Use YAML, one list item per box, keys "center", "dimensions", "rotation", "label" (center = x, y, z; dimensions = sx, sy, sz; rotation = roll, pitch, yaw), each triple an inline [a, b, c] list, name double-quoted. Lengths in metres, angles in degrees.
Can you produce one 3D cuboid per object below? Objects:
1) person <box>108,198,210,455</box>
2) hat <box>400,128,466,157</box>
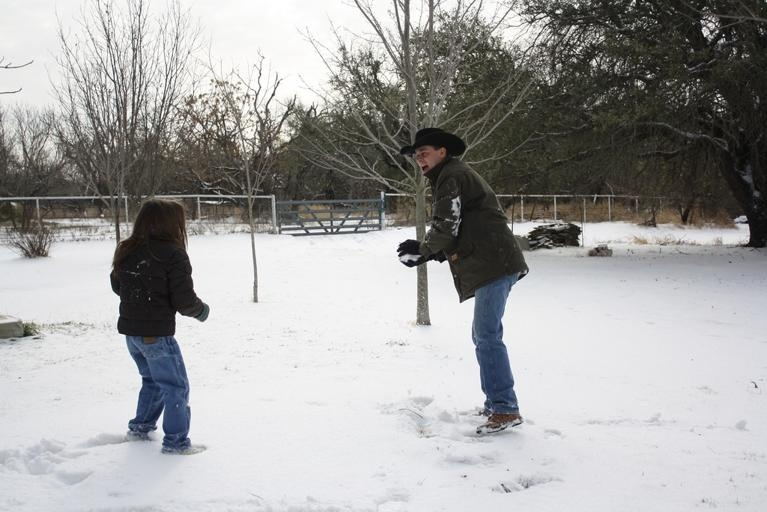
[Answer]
- center: [-2.823, 0.881, 9.007]
  dimensions: [1.022, 3.189, 0.391]
  rotation: [-1, 2, 7]
  label: "person"
- center: [0.717, -1.519, 9.548]
  dimensions: [0.522, 0.234, 0.507]
  rotation: [4, -10, -10]
  label: "hat"
